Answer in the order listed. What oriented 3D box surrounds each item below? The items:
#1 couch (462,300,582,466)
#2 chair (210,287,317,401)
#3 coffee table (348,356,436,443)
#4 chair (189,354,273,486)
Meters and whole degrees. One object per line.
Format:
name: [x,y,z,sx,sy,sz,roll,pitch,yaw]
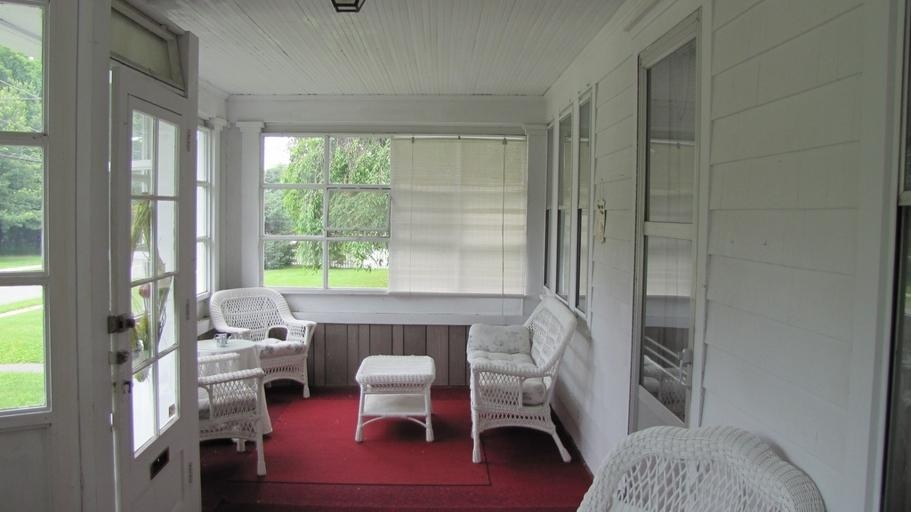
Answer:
couch: [0.621,1.059,5.342,1.036,1.033,1.862,-2,2,-1]
chair: [-2.012,0.895,5.757,0.966,1.021,0.929,4,1,15]
coffee table: [-0.537,1.331,5.143,0.730,0.480,0.908,1,-8,-4]
chair: [-1.885,1.325,4.527,0.882,0.720,0.974,4,-15,-22]
